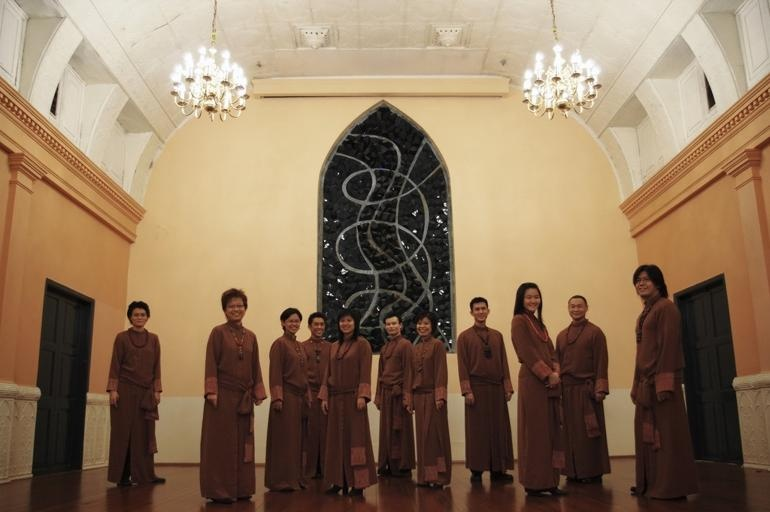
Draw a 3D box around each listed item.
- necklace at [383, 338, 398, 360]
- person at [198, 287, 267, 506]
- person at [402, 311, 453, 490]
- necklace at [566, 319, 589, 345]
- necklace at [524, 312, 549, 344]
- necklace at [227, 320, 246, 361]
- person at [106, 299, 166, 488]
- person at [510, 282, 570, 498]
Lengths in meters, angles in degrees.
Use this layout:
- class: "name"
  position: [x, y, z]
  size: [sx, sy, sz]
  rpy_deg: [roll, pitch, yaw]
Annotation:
- class: "necklace"
  position: [0.086, 1.121, 7.118]
  size: [0.092, 0.283, 0.195]
  rpy_deg: [30, -40, -30]
- class: "person"
  position: [-1.515, 1.352, 5.617]
  size: [0.584, 2.013, 0.562]
  rpy_deg: [4, -20, -17]
- class: "person"
  position: [0.489, 1.560, 6.255]
  size: [0.463, 1.851, 0.399]
  rpy_deg: [-9, -20, 17]
- class: "necklace"
  position: [2.254, 0.878, 6.598]
  size: [0.215, 0.313, 0.144]
  rpy_deg: [-9, -35, 45]
- class: "necklace"
  position: [1.570, 0.738, 5.815]
  size: [0.088, 0.333, 0.241]
  rpy_deg: [-37, -20, 36]
- class: "necklace"
  position: [-1.508, 0.833, 5.699]
  size: [0.227, 0.306, 0.071]
  rpy_deg: [2, -5, -43]
- class: "person"
  position: [-2.997, 1.621, 6.772]
  size: [0.668, 2.072, 0.585]
  rpy_deg: [8, -22, -26]
- class: "person"
  position: [1.564, 1.301, 5.769]
  size: [0.558, 2.087, 0.555]
  rpy_deg: [-4, -20, 3]
